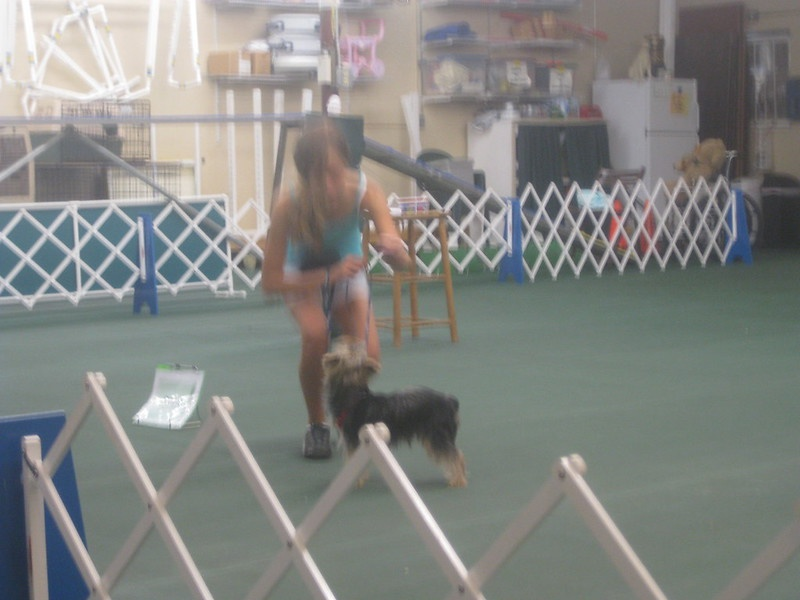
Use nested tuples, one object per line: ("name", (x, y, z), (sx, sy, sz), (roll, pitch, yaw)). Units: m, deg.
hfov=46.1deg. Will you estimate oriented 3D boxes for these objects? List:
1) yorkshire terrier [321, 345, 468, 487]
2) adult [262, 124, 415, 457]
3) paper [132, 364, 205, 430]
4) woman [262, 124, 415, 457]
("yorkshire terrier", (-0.043, 0.275, 2.394), (0.402, 0.434, 0.235), (-1, 19, -8))
("adult", (-0.138, -0.026, 2.517), (0.438, 0.938, 0.315), (11, 21, 40))
("paper", (-0.704, 0.287, 2.875), (0.177, 0.143, 0.251), (6, 14, 15))
("woman", (-0.157, -0.014, 2.487), (0.287, 0.902, 0.451), (-11, 16, -35))
